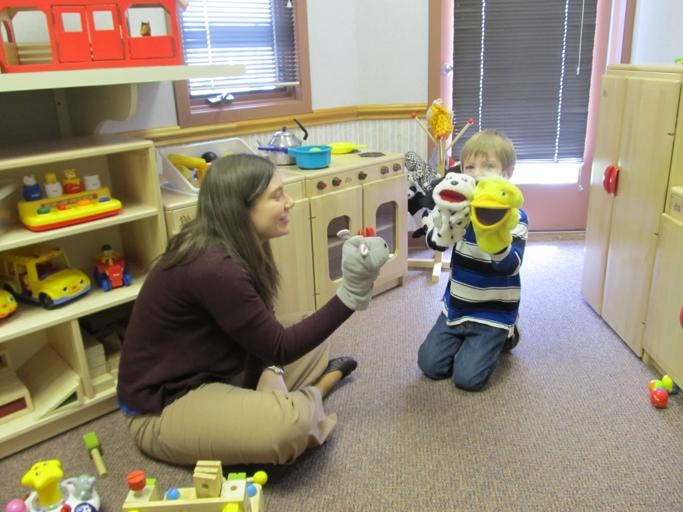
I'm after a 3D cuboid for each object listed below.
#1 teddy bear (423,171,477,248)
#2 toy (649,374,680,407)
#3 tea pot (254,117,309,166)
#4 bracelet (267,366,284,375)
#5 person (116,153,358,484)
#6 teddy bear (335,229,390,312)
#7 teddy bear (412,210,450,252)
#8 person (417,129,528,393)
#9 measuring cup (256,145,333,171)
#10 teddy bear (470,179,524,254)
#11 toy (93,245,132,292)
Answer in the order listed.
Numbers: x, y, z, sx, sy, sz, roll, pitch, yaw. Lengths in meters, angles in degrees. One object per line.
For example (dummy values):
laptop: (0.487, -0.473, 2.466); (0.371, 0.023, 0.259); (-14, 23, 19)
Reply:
teddy bear: (0.395, -0.138, 1.822); (0.167, 0.314, 0.162); (-8, 20, -23)
toy: (1.231, 0.497, 1.874); (0.082, 0.069, 0.146); (-2, 12, 27)
tea pot: (-0.278, -0.612, 2.692); (0.321, 0.284, 0.309); (4, 19, -1)
bracelet: (-0.242, 0.421, 1.810); (0.054, 0.019, 0.045); (0, -13, 36)
person: (-0.346, 0.203, 1.802); (0.732, 1.053, 0.809); (1, 17, -18)
teddy bear: (0.061, 0.035, 1.561); (0.144, 0.253, 0.155); (6, 13, 15)
teddy bear: (0.410, -0.124, 2.281); (0.162, 0.082, 0.173); (-24, 42, 26)
person: (0.561, -0.018, 2.067); (0.519, 1.032, 0.869); (8, 21, 29)
measuring cup: (-0.207, -0.536, 2.507); (0.366, 0.139, 0.395); (3, 17, -1)
teddy bear: (0.515, -0.119, 1.672); (0.153, 0.310, 0.202); (3, 24, 14)
toy: (-0.907, 0.058, 1.971); (0.132, 0.163, 0.240); (-3, 11, -26)
